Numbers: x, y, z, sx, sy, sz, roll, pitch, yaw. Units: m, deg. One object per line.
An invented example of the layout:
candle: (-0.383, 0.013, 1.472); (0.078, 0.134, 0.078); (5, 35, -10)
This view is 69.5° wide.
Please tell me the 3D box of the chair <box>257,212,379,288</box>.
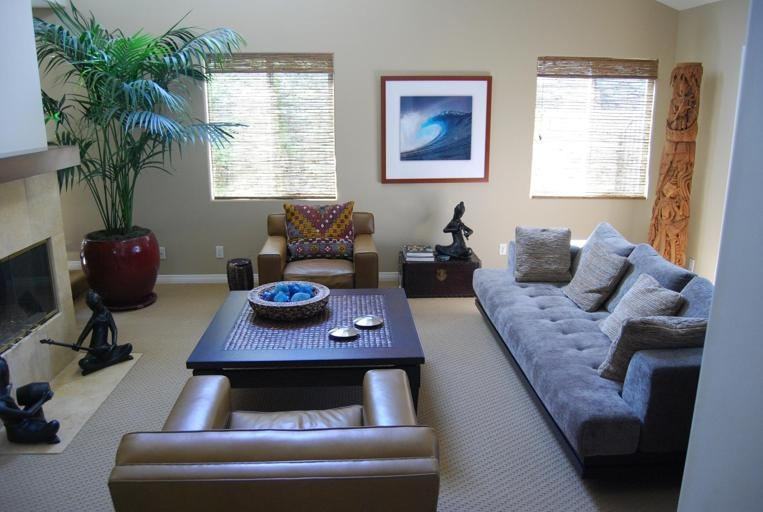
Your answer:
chair: (-0.575, -0.297, 5.266); (1.095, 0.788, 0.776); (-1, 18, -1)

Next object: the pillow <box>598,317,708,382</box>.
pillow: (1.546, 0.544, 3.111); (0.524, 0.426, 0.225); (0, 17, -1)

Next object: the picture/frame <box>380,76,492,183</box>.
picture/frame: (0.547, -1.371, 5.678); (1.127, 1.030, 0.051); (-1, 15, -3)

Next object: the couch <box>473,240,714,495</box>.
couch: (1.236, 0.684, 3.305); (0.616, 0.569, 1.449); (-1, 14, -1)

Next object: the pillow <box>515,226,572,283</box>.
pillow: (1.380, 0.003, 4.675); (0.482, 0.501, 0.180); (0, -2, 6)

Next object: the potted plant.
potted plant: (-2.332, -0.952, 5.287); (1.461, 2.774, 1.561); (-12, 21, -35)

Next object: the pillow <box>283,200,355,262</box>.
pillow: (-0.621, -0.225, 5.435); (0.600, 0.469, 0.221); (-2, 14, -4)
